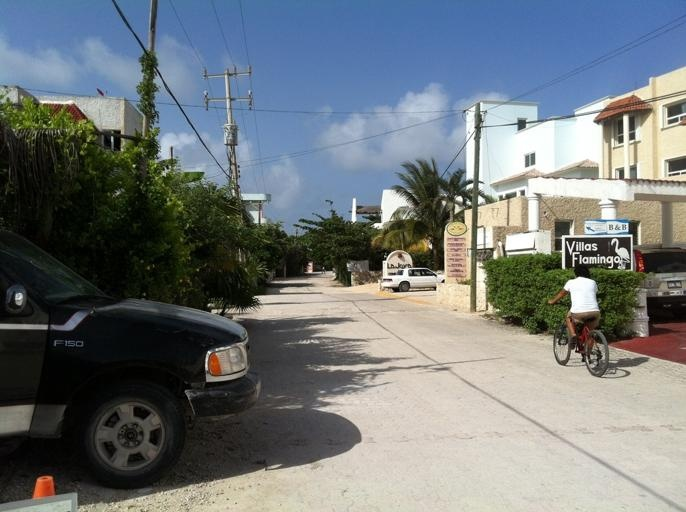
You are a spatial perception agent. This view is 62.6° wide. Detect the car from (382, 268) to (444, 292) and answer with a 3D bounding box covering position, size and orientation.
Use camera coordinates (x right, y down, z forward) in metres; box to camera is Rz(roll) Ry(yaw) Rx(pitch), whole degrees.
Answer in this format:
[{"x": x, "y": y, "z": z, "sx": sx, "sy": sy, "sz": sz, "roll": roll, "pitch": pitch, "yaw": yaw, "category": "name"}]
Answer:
[{"x": 4.470, "y": 1.509, "z": 36.754, "sx": 3.661, "sy": 1.275, "sz": 1.610, "roll": -3, "pitch": 2, "yaw": -15, "category": "car"}]
